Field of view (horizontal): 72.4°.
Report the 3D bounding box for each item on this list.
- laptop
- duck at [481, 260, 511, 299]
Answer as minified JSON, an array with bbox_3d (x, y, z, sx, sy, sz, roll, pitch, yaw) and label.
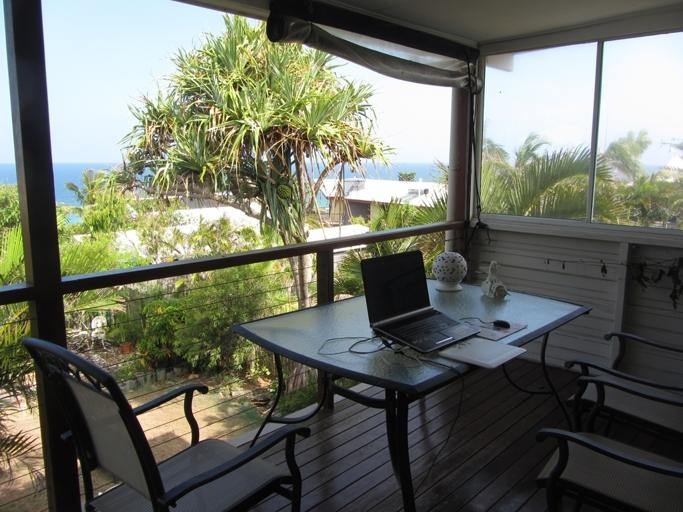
[{"bbox_3d":[0.377,0.267,2.467,0.526,0.381,0.517,-12,22,-41],"label":"laptop"},{"bbox_3d":[0.991,0.156,3.021,0.152,0.238,0.227,-7,10,-6],"label":"duck"}]
